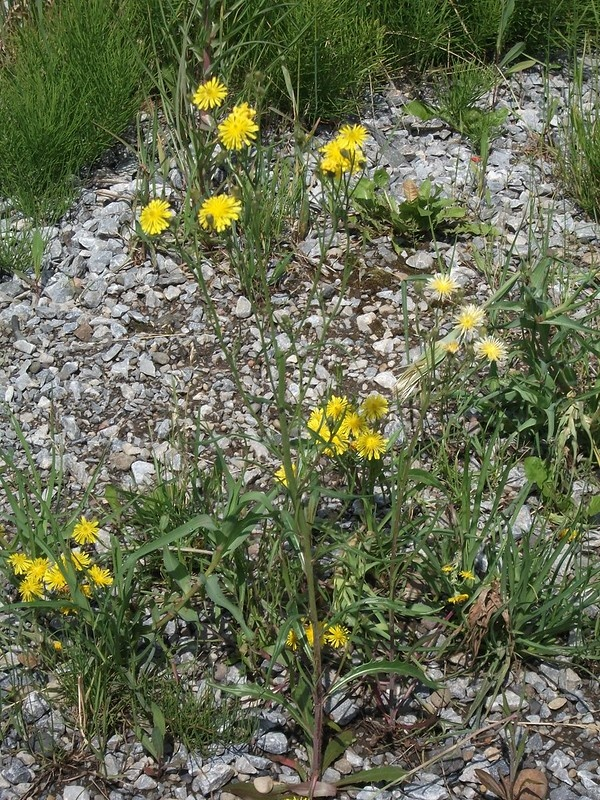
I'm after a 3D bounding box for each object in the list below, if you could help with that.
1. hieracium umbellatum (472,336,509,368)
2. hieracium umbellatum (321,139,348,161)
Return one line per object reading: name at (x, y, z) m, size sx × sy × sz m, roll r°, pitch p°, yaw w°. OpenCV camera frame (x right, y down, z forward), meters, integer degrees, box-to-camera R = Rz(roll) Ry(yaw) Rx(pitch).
hieracium umbellatum at (0.454, -0.119, 1.850) m, size 0.096 × 0.042 × 0.098 m, roll 2°, pitch 82°, yaw 6°
hieracium umbellatum at (0.060, -0.417, 1.244) m, size 0.046 × 0.046 × 0.016 m, roll 1°, pitch 9°, yaw 37°
